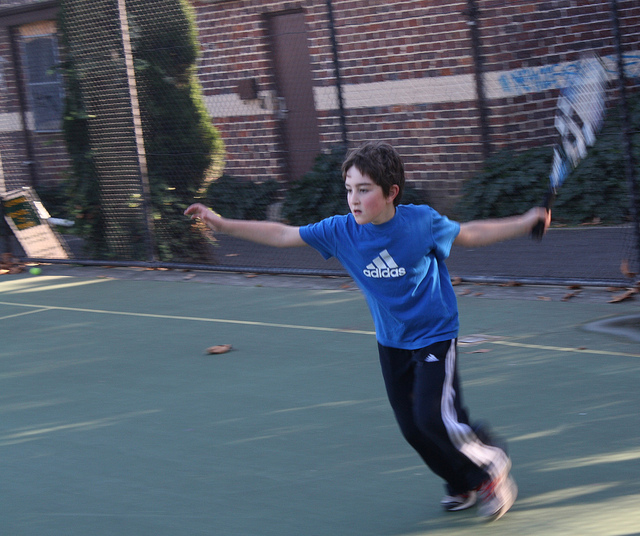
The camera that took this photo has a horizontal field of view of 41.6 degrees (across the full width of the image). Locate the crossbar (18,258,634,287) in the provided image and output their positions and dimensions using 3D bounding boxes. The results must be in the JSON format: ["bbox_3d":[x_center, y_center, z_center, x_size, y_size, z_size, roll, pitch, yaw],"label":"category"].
[{"bbox_3d":[0.158,0.047,8.021,8.626,0.082,0.161,2,0,24],"label":"crossbar"}]

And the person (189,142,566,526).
[{"bbox_3d":[0.400,0.310,3.901,1.289,1.819,0.476,-8,15,10],"label":"person"}]
